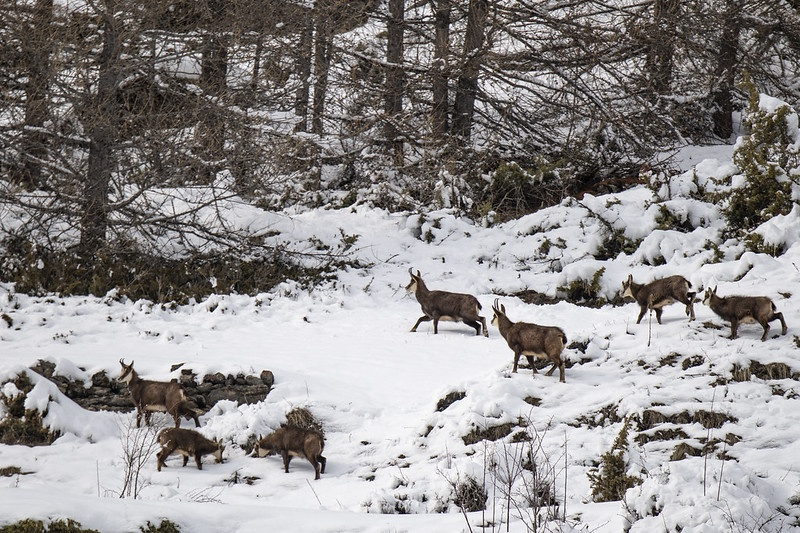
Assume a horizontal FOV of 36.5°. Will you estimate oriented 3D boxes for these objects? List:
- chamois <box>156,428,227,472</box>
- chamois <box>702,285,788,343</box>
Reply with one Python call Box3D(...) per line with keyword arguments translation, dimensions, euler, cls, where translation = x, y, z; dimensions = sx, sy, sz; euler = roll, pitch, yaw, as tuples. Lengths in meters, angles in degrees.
Box3D(translation=(-5.306, 4.520, 30.464), dimensions=(1.588, 1.039, 0.482), euler=(-1, -2, -12), cls="chamois")
Box3D(translation=(8.937, 1.242, 31.716), dimensions=(2.121, 1.370, 0.601), euler=(1, 6, 36), cls="chamois")
